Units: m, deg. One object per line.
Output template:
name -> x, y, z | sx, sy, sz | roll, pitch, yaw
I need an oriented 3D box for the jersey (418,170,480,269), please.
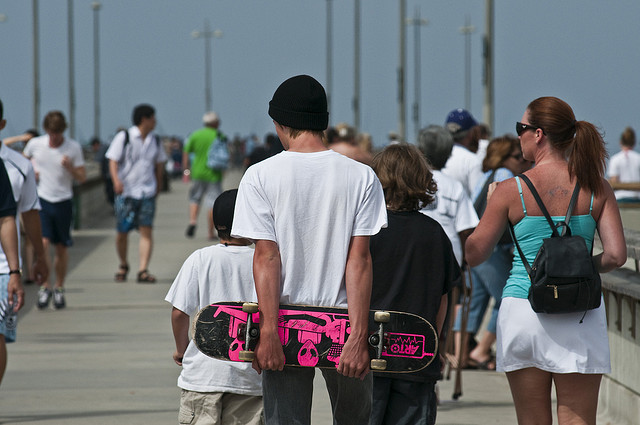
jersey -> 1.086, 0.067, 12.840 | 0.345, 0.952, 1.009 | -1, -2, -3

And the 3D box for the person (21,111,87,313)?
person -> -2.993, 0.060, 16.787 | 0.797, 2.489, 1.091 | 1, -5, -10

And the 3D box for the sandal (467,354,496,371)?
sandal -> 1.639, 1.516, 15.293 | 0.314, 0.100, 0.133 | 0, 8, 13

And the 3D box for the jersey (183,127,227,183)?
jersey -> -1.861, -0.957, 24.225 | 0.624, 0.890, 0.461 | -1, 6, -6

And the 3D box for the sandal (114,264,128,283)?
sandal -> -2.551, 0.775, 19.230 | 0.133, 0.252, 0.054 | 4, 5, -20

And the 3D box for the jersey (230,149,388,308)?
jersey -> -0.079, 0.107, 11.427 | 1.174, 1.195, 0.261 | -1, 6, -1

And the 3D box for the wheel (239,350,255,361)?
wheel -> -0.552, 1.068, 11.299 | 0.077, 0.056, 0.083 | 2, 2, 0

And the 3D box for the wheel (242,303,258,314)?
wheel -> -0.530, 0.705, 11.321 | 0.076, 0.076, 0.081 | 8, 3, 0

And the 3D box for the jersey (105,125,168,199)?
jersey -> -2.286, -0.647, 18.940 | 0.822, 0.914, 0.431 | 1, 3, -26
